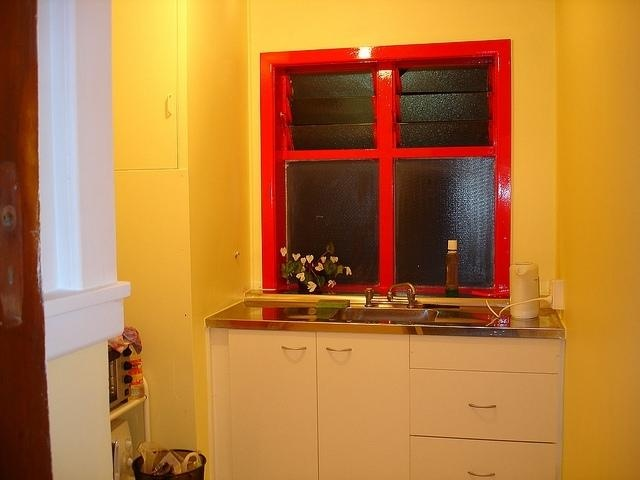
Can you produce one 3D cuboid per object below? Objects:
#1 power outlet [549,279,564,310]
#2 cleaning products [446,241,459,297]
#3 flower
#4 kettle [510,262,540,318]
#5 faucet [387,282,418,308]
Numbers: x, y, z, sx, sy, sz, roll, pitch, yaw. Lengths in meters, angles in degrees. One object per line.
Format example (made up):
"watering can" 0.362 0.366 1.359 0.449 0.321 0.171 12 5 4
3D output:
"power outlet" 1.155 0.245 2.794 0.103 0.106 0.037 -3 14 13
"cleaning products" 0.713 0.150 3.129 0.063 0.294 0.068 0 0 25
"flower" -0.021 0.163 3.322 0.416 0.268 0.216 1 4 1
"kettle" 0.981 0.236 2.793 0.132 0.259 0.137 -3 7 5
"faucet" 0.443 0.268 3.114 0.155 0.131 0.420 1 4 8
